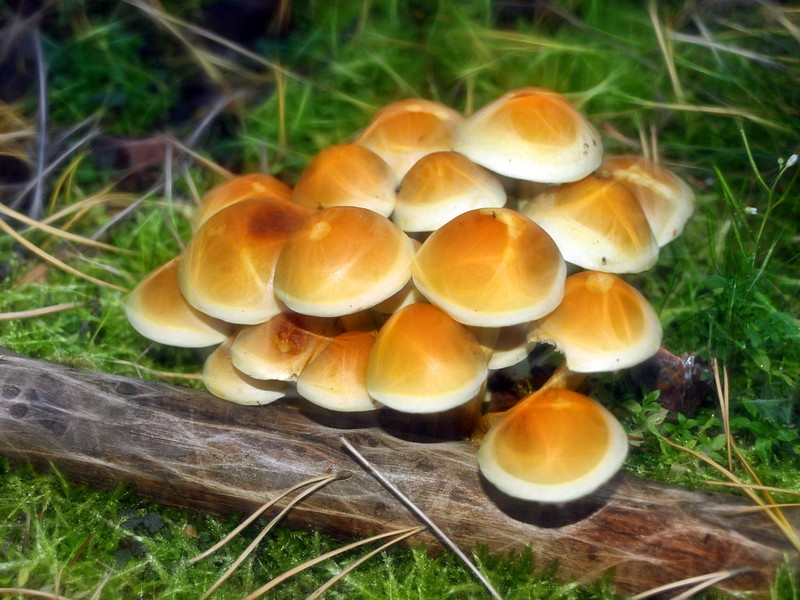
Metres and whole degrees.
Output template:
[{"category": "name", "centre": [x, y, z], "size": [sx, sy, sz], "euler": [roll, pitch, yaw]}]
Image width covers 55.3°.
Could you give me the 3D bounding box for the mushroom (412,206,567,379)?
[{"category": "mushroom", "centre": [0.518, -0.164, 4.332], "size": [0.738, 0.360, 0.751], "euler": [-36, 73, -17]}]
